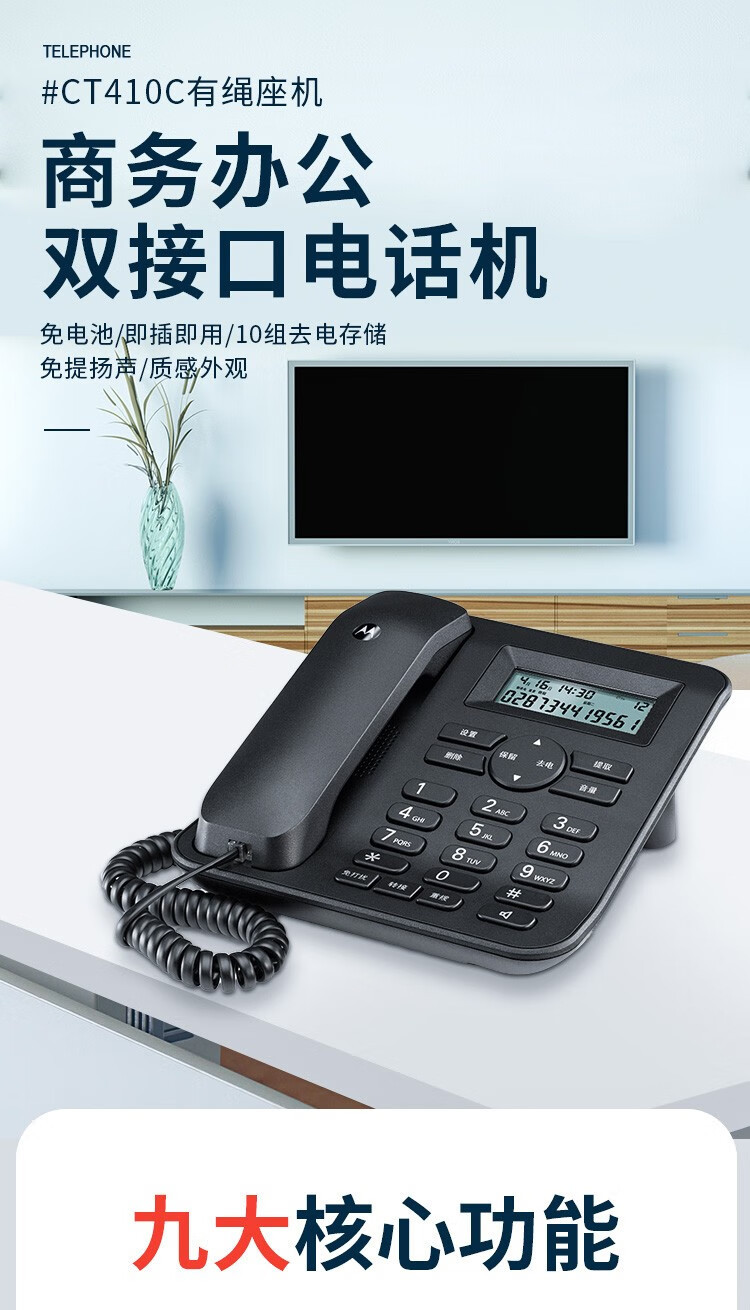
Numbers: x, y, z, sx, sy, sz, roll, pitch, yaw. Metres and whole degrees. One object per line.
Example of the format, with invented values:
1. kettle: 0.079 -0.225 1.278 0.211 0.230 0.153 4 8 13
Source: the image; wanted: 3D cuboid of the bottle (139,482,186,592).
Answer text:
1. bottle: -0.777 -0.425 3.808 0.141 0.389 0.054 -3 11 -16
